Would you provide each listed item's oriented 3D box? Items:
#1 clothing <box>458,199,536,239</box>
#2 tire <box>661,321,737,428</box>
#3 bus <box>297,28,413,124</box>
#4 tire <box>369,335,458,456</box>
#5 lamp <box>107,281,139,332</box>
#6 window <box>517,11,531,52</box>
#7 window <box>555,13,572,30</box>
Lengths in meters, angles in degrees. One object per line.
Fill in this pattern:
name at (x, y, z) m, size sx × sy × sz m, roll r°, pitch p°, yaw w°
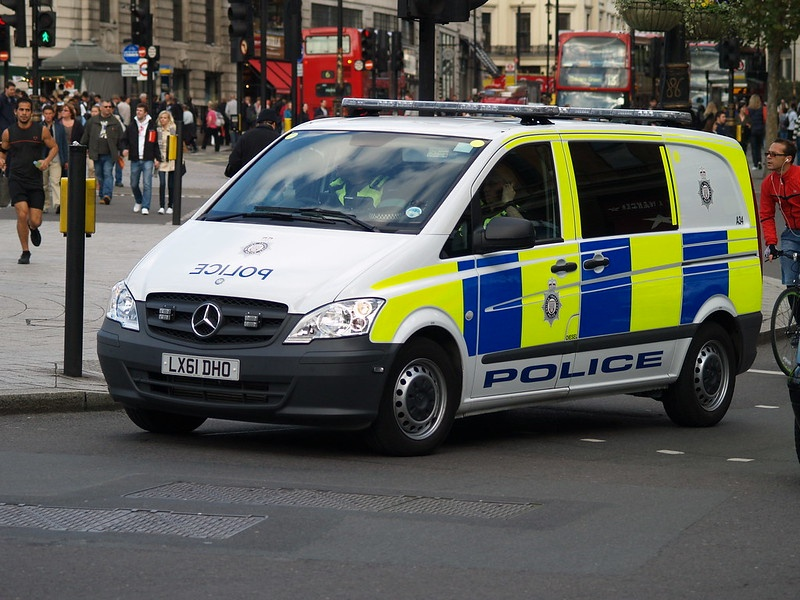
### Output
clothing at (0.619, -0.577, 7.004) m, size 0.139 × 0.348 × 0.348 m, roll -21°, pitch -8°, yaw -47°
tire at (2.450, 0.613, 8.443) m, size 0.271 × 0.812 × 0.784 m, roll 1°, pitch 7°, yaw 40°
bus at (-2.151, -11.314, 51.052) m, size 2.778 × 4.495 × 8.796 m, roll -11°, pitch 17°, yaw -18°
tire at (0.057, 0.596, 6.555) m, size 0.283 × 0.777 × 0.750 m, roll 2°, pitch 4°, yaw 39°
lamp at (-1.847, 0.049, 6.777) m, size 0.122 × 0.362 × 0.243 m, roll -4°, pitch 4°, yaw -42°
window at (15.043, -32.407, 123.451) m, size 1.745 × 5.469 × 0.501 m, roll 1°, pitch -15°, yaw 4°
window at (19.650, -33.510, 122.404) m, size 1.370 × 1.867 × 1.793 m, roll 2°, pitch 3°, yaw 3°
